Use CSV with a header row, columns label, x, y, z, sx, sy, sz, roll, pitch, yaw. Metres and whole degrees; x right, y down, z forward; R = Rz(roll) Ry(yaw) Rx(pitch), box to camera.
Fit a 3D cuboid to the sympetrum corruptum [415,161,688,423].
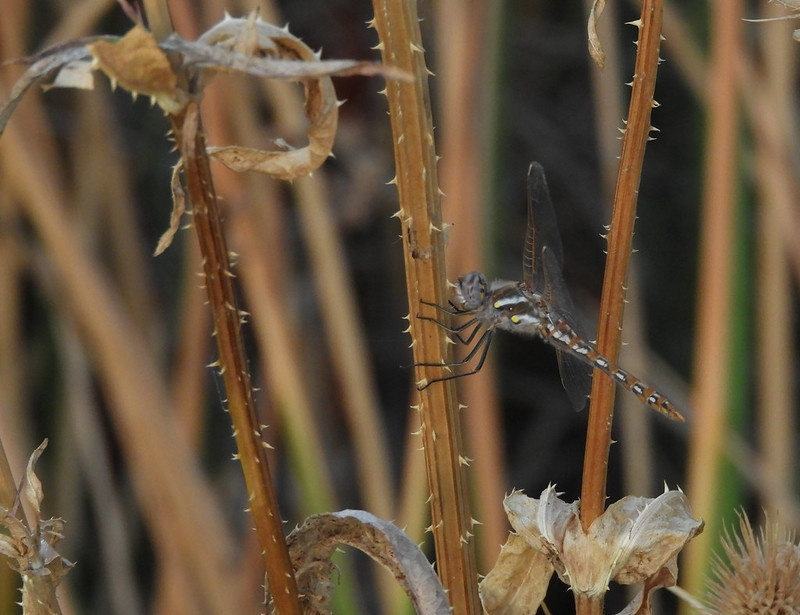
label,x,y,z,sx,sy,sz,roll,pitch,yaw
sympetrum corruptum,0.187,0.008,1.884,0.337,0.216,0.397,14,-15,7
